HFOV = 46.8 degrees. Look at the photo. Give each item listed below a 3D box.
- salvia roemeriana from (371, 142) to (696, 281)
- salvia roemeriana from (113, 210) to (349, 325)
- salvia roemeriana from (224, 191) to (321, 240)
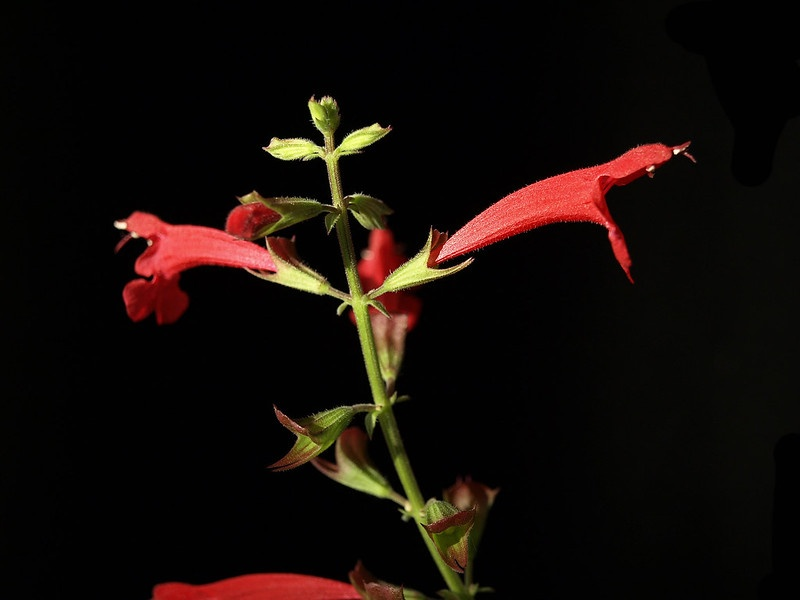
[{"bbox_3d":[0.433,-0.316,2.837,0.757,0.218,0.473,-16,28,15],"label":"salvia roemeriana"},{"bbox_3d":[-0.535,-0.120,2.863,0.765,0.314,0.241,-1,24,12],"label":"salvia roemeriana"},{"bbox_3d":[-0.373,-0.248,2.685,0.190,0.066,0.160,3,27,-29],"label":"salvia roemeriana"}]
